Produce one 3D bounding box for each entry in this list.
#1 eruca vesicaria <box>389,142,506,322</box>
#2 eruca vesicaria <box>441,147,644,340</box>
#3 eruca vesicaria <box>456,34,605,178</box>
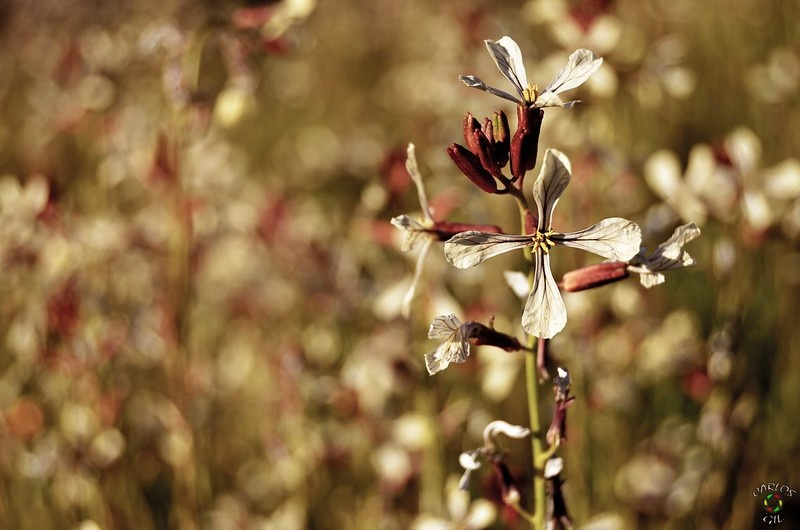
[{"bbox_3d":[0.039,-0.053,2.160,0.203,0.096,0.248,-7,61,-6],"label":"eruca vesicaria"},{"bbox_3d":[0.207,-0.022,2.009,0.245,0.036,0.279,0,91,21],"label":"eruca vesicaria"},{"bbox_3d":[0.180,-0.234,2.071,0.178,0.159,0.083,23,110,39],"label":"eruca vesicaria"}]
